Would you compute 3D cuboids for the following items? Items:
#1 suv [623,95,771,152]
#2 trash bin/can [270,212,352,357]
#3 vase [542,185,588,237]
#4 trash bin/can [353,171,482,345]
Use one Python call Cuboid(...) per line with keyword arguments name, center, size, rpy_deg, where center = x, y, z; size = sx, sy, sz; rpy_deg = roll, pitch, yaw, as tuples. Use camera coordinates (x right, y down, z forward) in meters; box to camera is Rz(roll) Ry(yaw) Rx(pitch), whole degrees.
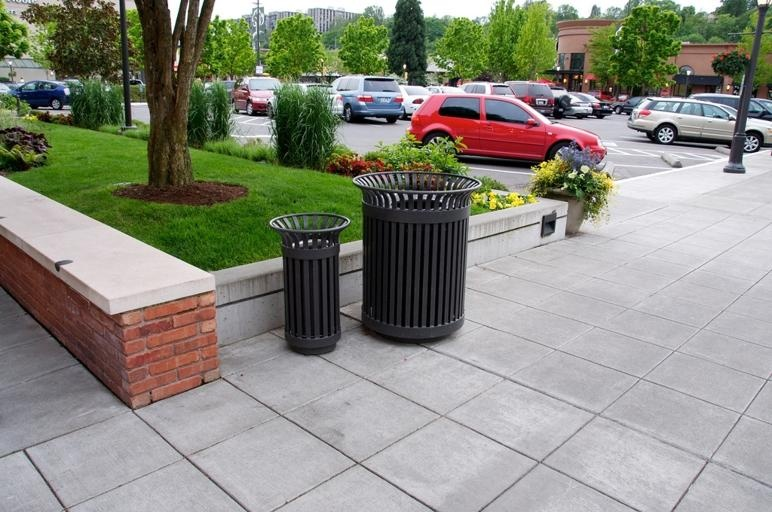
Cuboid(name="suv", center=(12.908, -5.196, 22.349), size=(5.654, 1.859, 2.370), rpy_deg=(5, 21, 17))
Cuboid(name="trash bin/can", center=(-0.756, 0.268, 5.630), size=(0.758, 1.362, 0.658), rpy_deg=(-1, 21, -7))
Cuboid(name="vase", center=(3.055, -0.752, 9.622), size=(0.717, 0.754, 0.701), rpy_deg=(-6, 7, -26))
Cuboid(name="trash bin/can", center=(0.137, -0.100, 6.507), size=(1.667, 1.856, 1.661), rpy_deg=(10, 18, 29))
